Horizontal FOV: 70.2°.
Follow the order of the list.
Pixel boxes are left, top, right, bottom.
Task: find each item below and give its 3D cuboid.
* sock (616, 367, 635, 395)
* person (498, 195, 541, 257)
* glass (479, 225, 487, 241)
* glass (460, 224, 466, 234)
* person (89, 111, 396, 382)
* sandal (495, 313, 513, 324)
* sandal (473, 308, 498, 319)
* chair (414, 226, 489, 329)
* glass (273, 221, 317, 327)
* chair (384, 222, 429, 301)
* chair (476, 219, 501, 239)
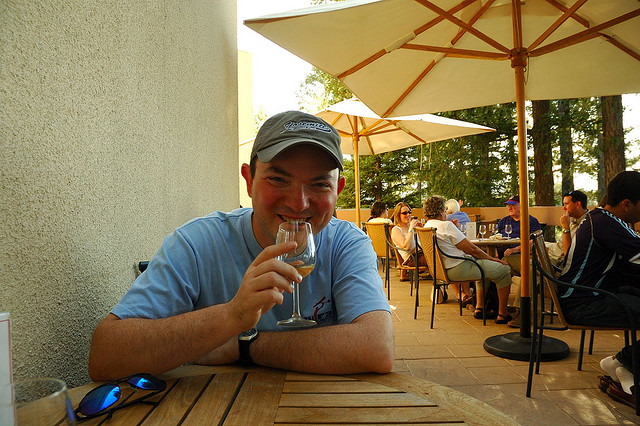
[{"bbox_3d":[2.518,1.376,3.815,0.100,0.273,0.111,-12,-31,22],"label":"sock"},{"bbox_3d":[3.520,0.377,8.174,0.723,1.325,0.662,-1,-8,28],"label":"person"},{"bbox_3d":[2.947,0.314,8.247,0.130,0.196,0.331,1,5,19],"label":"glass"},{"bbox_3d":[2.422,0.242,7.716,0.053,0.145,0.428,0,5,14],"label":"glass"},{"bbox_3d":[-0.374,0.176,2.560,1.613,1.270,0.915,2,1,-20],"label":"person"},{"bbox_3d":[2.462,1.408,6.065,0.296,0.128,0.104,-5,3,-17],"label":"sandal"},{"bbox_3d":[2.303,1.408,6.322,0.389,0.145,0.140,-3,3,-11],"label":"sandal"},{"bbox_3d":[1.796,0.865,6.370,0.868,1.297,0.841,1,1,-5],"label":"chair"},{"bbox_3d":[-0.133,0.318,2.335,0.200,0.562,0.390,1,6,21],"label":"glass"},{"bbox_3d":[1.407,0.774,8.300,1.087,1.678,1.043,-1,-2,2],"label":"chair"},{"bbox_3d":[3.169,0.306,8.602,0.363,0.422,0.383,0,6,27],"label":"chair"}]
